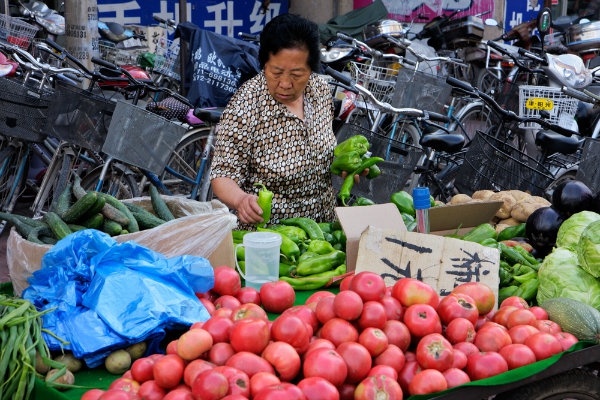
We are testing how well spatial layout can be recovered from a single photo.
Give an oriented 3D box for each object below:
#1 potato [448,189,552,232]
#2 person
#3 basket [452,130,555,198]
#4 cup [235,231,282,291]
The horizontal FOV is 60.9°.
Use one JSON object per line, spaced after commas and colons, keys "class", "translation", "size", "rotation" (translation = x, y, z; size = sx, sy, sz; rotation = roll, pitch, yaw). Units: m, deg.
{"class": "potato", "translation": [1.568, 0.030, 3.788], "size": [0.516, 0.213, 0.552], "rotation": [0, -1, 1]}
{"class": "person", "translation": [-0.176, -0.532, 4.119], "size": [0.822, 1.788, 1.351], "rotation": [1, -3, -3]}
{"class": "basket", "translation": [2.751, -0.328, 7.055], "size": [1.128, 0.613, 0.832], "rotation": [29, 5, -6]}
{"class": "cup", "translation": [-0.198, 0.314, 2.736], "size": [0.246, 0.410, 0.255], "rotation": [0, 4, 0]}
